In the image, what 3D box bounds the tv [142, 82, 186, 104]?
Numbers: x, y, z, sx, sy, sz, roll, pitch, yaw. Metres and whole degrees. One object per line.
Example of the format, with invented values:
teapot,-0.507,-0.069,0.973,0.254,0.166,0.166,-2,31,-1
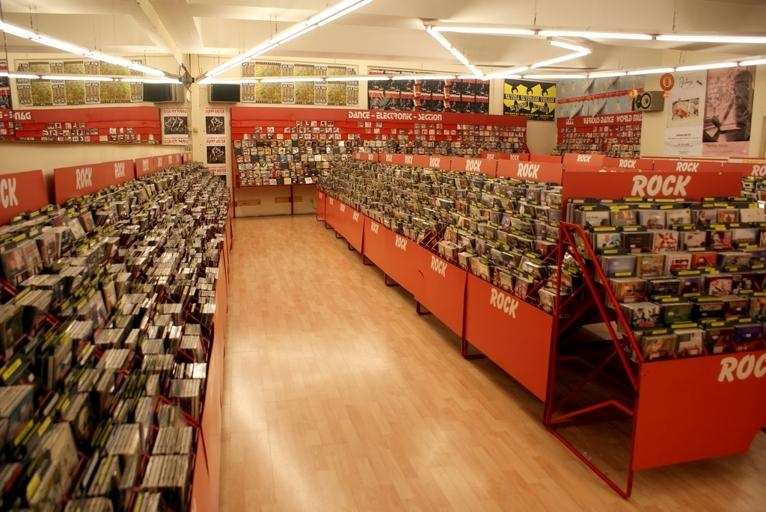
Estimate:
tv,-5.776,-4.337,13.488,1.114,0.491,0.376,3,15,9
